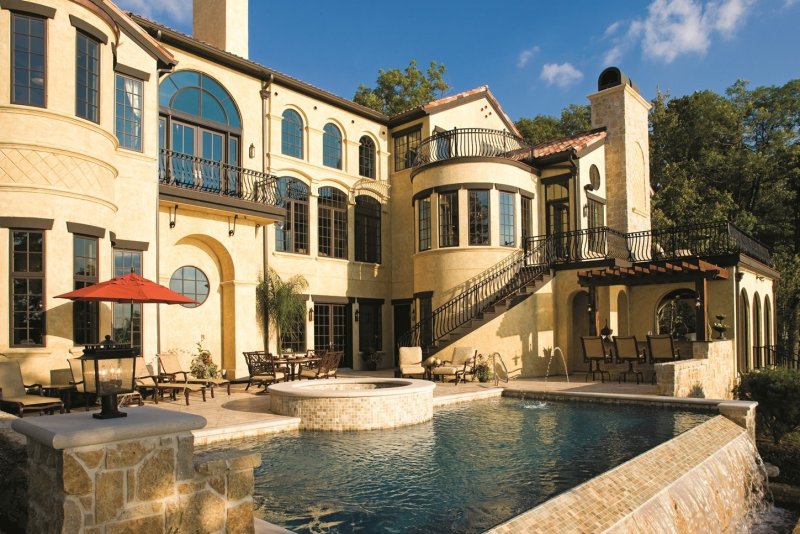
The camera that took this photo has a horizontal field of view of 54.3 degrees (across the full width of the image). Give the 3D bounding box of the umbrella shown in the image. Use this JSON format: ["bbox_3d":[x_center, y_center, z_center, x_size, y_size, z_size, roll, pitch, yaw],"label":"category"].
[{"bbox_3d":[-7.812,0.903,22.262,2.716,1.956,2.697,0,-4,-21],"label":"umbrella"}]

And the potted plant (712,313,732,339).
[{"bbox_3d":[11.237,2.070,27.085,0.864,0.882,0.855,-3,-3,24],"label":"potted plant"}]
